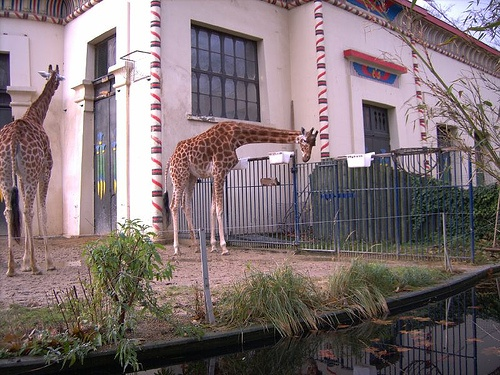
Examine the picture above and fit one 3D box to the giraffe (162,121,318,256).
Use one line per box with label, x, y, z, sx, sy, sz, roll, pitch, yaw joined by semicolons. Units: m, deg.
giraffe;-0.869;0.007;9.131;4.015;3.037;2.238;13;13;41
